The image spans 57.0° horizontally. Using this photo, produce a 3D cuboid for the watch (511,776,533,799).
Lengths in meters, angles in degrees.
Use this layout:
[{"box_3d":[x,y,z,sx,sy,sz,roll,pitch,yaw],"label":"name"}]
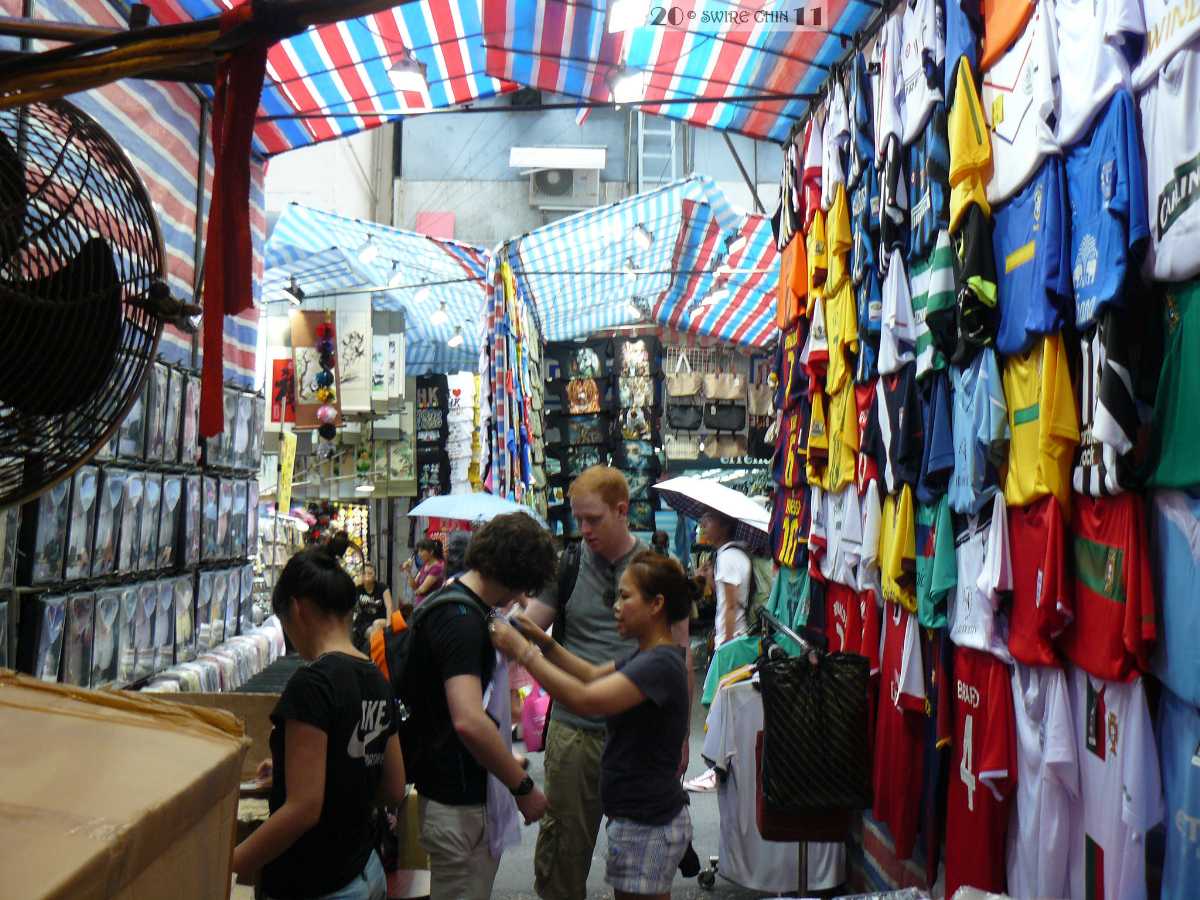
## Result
[{"box_3d":[-0.214,0.944,3.134,0.029,0.057,0.056,43,-11,-10],"label":"watch"}]
